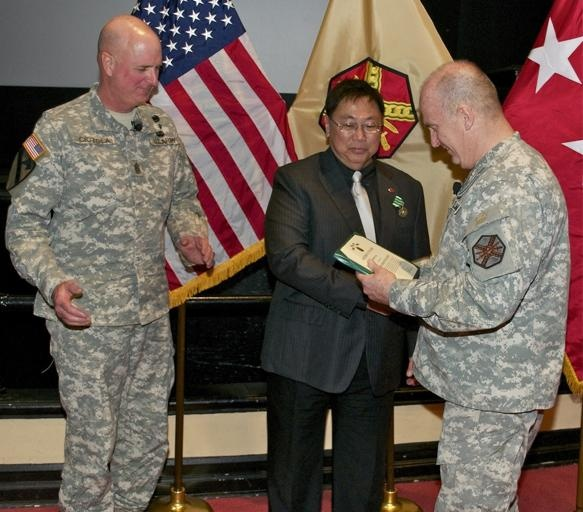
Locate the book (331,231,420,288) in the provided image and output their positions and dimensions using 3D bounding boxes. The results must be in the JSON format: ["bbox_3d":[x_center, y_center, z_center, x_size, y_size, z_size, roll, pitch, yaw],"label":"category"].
[{"bbox_3d":[0.246,0.038,2.686,0.194,0.170,0.202,25,7,36],"label":"book"}]
